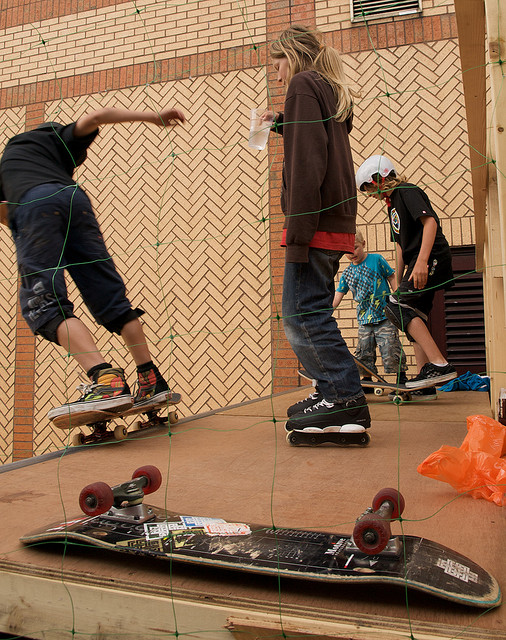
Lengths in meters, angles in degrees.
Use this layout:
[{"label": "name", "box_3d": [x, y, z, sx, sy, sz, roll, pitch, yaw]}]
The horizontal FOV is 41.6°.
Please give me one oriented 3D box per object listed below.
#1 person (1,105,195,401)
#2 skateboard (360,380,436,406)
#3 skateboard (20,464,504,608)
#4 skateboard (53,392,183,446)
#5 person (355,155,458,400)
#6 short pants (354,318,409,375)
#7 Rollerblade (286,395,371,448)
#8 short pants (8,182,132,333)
[{"label": "person", "box_3d": [-0.514, -0.206, 2.270, 0.590, 1.023, 0.393, -10, 1, -15]}, {"label": "skateboard", "box_3d": [0.652, 0.309, 3.072, 0.414, 0.121, 0.327, 2, 0, 23]}, {"label": "skateboard", "box_3d": [-0.098, 0.373, 1.172, 1.118, 0.148, 0.244, 0, 3, 22]}, {"label": "skateboard", "box_3d": [-0.459, 0.361, 2.426, 0.224, 0.095, 0.723, -16, -7, 19]}, {"label": "person", "box_3d": [0.712, -0.166, 3.116, 0.583, 1.061, 0.466, 3, 5, 24]}, {"label": "short pants", "box_3d": [0.729, 0.128, 3.875, 0.318, 0.359, 0.142, -6, -2, 41]}, {"label": "Rollerblade", "box_3d": [0.222, 0.313, 1.965, 0.255, 0.072, 0.229, 2, 27, 5]}, {"label": "short pants", "box_3d": [-0.616, -0.220, 2.248, 0.372, 0.509, 0.237, -9, 1, -26]}]
